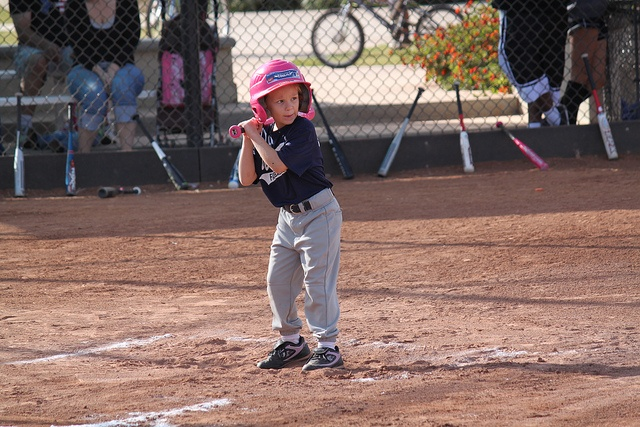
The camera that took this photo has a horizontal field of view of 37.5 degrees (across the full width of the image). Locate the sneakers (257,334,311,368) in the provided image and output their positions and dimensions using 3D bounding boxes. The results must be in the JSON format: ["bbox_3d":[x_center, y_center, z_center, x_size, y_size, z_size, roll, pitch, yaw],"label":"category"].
[{"bbox_3d":[-0.246,0.990,6.709,0.427,0.168,0.142,-17,0,-20],"label":"sneakers"}]

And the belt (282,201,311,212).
[{"bbox_3d":[-0.163,-0.042,6.563,0.193,0.078,0.051,-2,2,28],"label":"belt"}]

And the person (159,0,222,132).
[{"bbox_3d":[-1.546,-1.725,10.914,0.682,1.368,1.215,-5,2,-31],"label":"person"}]

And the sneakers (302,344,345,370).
[{"bbox_3d":[0.031,1.014,6.549,0.342,0.133,0.121,-2,-3,-8],"label":"sneakers"}]

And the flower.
[{"bbox_3d":[1.902,-2.194,12.966,1.668,0.897,1.618,-3,16,-44],"label":"flower"}]

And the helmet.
[{"bbox_3d":[-0.323,-0.887,6.694,0.395,0.373,0.459,-4,3,-26],"label":"helmet"}]

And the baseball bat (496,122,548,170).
[{"bbox_3d":[2.250,-0.723,10.527,0.134,0.690,0.079,-34,-26,-19],"label":"baseball bat"}]
